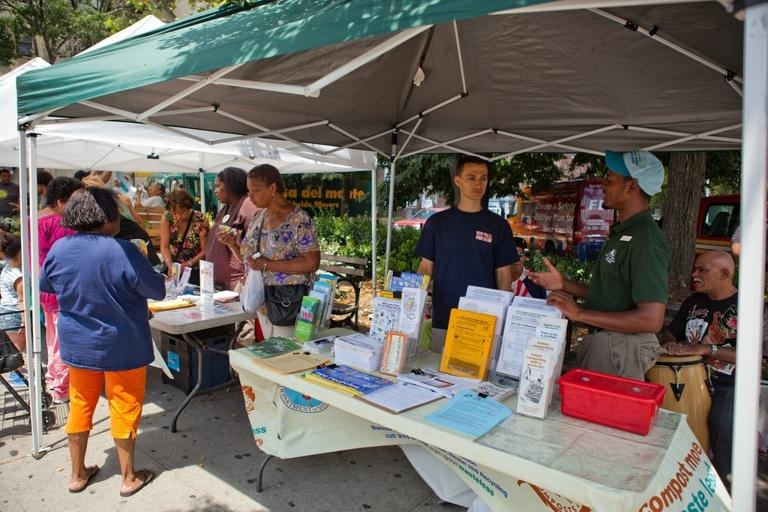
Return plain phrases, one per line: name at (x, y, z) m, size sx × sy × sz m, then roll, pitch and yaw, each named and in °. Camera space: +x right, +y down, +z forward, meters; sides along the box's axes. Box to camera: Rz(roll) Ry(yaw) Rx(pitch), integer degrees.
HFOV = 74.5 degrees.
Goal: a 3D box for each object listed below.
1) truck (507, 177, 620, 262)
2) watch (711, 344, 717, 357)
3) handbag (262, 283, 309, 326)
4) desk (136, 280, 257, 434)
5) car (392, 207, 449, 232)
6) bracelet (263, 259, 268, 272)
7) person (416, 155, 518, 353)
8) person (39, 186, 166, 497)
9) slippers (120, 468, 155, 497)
truck at (5.396, -1.242, 14.815) m, size 2.054 × 2.321 × 4.720 m, roll -1°, pitch 7°, yaw -15°
watch at (2.354, 0.676, 3.612) m, size 0.052 × 0.067 × 0.029 m, roll 0°, pitch -5°, yaw 40°
handbag at (-0.802, 0.386, 4.156) m, size 0.368 × 0.398 × 0.184 m, roll 0°, pitch -6°, yaw 3°
desk at (-1.755, 1.000, 5.143) m, size 1.166 × 1.130 × 1.401 m, roll -9°, pitch 14°, yaw -41°
car at (1.090, -1.650, 22.683) m, size 2.917 × 1.177 × 1.748 m, roll -1°, pitch 1°, yaw -44°
bracelet at (-0.962, 0.076, 4.118) m, size 0.031 × 0.078 × 0.059 m, roll 5°, pitch 1°, yaw -29°
person at (0.648, -0.030, 4.066) m, size 0.809 × 1.531 × 0.489 m, roll 4°, pitch 9°, yaw 14°
person at (-2.038, 0.646, 3.742) m, size 0.830 × 2.295 × 0.321 m, roll 2°, pitch 8°, yaw 4°
slippers at (-1.887, 1.744, 3.891) m, size 0.104 × 0.056 × 0.210 m, roll 9°, pitch 20°, yaw 20°
